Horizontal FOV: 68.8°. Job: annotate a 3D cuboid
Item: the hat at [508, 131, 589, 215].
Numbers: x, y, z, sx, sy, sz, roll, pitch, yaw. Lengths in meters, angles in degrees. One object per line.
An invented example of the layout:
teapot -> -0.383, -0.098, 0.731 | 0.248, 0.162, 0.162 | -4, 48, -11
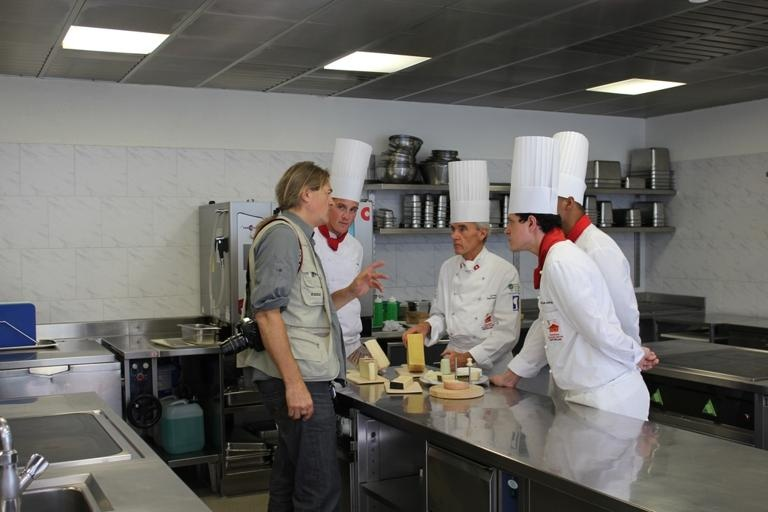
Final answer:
hat -> 0.861, -0.448, 2.928 | 0.309, 0.474, 0.649 | 0, 3, 24

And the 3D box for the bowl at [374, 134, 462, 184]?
bowl -> 0.344, -0.877, 5.557 | 0.774, 0.334, 0.469 | 6, -9, -29

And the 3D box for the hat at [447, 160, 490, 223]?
hat -> 0.545, -0.417, 3.594 | 0.241, 0.418, 0.237 | -1, 3, 7

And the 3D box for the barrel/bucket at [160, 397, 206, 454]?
barrel/bucket -> -1.648, 1.377, 4.710 | 0.445, 0.460, 0.360 | -1, 3, -22
